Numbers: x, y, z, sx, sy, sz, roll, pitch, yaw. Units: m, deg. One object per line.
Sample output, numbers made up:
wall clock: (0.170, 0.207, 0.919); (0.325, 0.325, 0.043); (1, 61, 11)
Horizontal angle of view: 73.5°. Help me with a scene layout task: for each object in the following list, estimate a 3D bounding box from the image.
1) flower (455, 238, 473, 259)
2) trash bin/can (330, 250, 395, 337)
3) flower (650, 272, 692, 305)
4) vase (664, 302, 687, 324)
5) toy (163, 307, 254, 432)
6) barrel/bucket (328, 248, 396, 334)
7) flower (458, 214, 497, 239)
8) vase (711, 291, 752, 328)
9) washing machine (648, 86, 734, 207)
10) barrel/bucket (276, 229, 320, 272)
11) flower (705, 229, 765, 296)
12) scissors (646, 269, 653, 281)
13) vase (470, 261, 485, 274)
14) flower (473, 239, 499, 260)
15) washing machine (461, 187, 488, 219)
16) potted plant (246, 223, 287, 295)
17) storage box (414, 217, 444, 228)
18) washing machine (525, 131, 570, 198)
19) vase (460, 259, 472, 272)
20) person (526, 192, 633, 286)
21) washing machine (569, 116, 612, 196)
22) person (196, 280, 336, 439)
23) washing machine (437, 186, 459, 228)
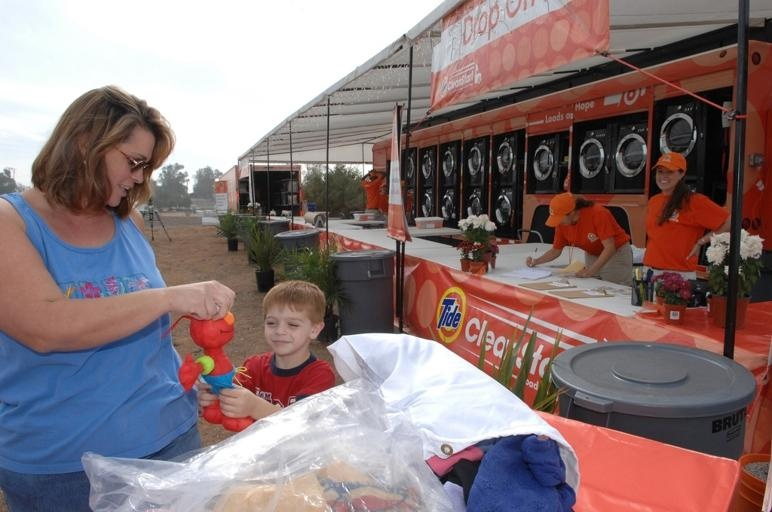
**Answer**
flower: (0.800, -0.064, 5.184); (0.089, 0.177, 0.226); (-5, 11, -28)
trash bin/can: (-0.229, 0.459, 6.005); (0.767, 1.142, 0.564); (-4, -19, 17)
flower: (2.195, 0.354, 3.275); (0.191, 0.178, 0.220); (-3, 3, 7)
vase: (1.860, 0.370, 3.307); (0.109, 0.097, 0.118); (1, -3, 13)
toy: (-0.721, 0.421, 2.303); (0.398, 0.688, 0.426); (-3, 16, -14)
barrel/bucket: (-0.182, 0.412, 6.300); (0.784, 1.231, 0.882); (-1, 0, 35)
flower: (0.953, -0.281, 5.247); (0.282, 0.223, 0.295); (1, 8, -28)
vase: (2.147, 0.346, 3.215); (0.241, 0.226, 0.263); (5, 7, 36)
washing machine: (3.516, -1.314, 5.918); (0.284, 0.859, 1.099); (-14, -18, -20)
barrel/bucket: (-1.540, -0.196, 9.124); (0.787, 0.875, 0.904); (-2, 2, -14)
flower: (2.095, 0.046, 3.127); (0.292, 0.447, 0.553); (7, 12, 37)
scissors: (1.915, 0.145, 3.747); (0.024, 0.082, 0.019); (-12, 50, 8)
vase: (0.913, 0.124, 5.042); (0.160, 0.114, 0.179); (1, 10, 5)
flower: (1.015, -0.111, 5.201); (0.195, 0.271, 0.248); (5, 12, 27)
washing machine: (1.824, -1.106, 10.611); (0.188, 0.824, 0.523); (-4, 5, -22)
potted plant: (-2.312, -0.044, 9.695); (1.050, 1.711, 1.145); (-2, 4, -21)
storage box: (0.829, -0.613, 9.835); (0.508, 0.205, 0.250); (-2, 10, -10)
washing machine: (2.875, -1.481, 8.428); (0.740, 1.280, 0.802); (-3, 5, -24)
vase: (0.800, 0.094, 5.155); (0.052, 0.124, 0.159); (-7, 12, -36)
person: (1.900, -0.165, 5.003); (0.921, 0.876, 0.699); (5, 11, 28)
washing machine: (2.957, -1.396, 7.398); (0.226, 1.040, 0.703); (-2, 10, -13)
person: (-0.558, 0.442, 2.499); (0.571, 0.775, 0.523); (0, 5, -41)
washing machine: (1.449, -1.093, 11.643); (0.207, 0.787, 0.549); (0, 11, -28)
